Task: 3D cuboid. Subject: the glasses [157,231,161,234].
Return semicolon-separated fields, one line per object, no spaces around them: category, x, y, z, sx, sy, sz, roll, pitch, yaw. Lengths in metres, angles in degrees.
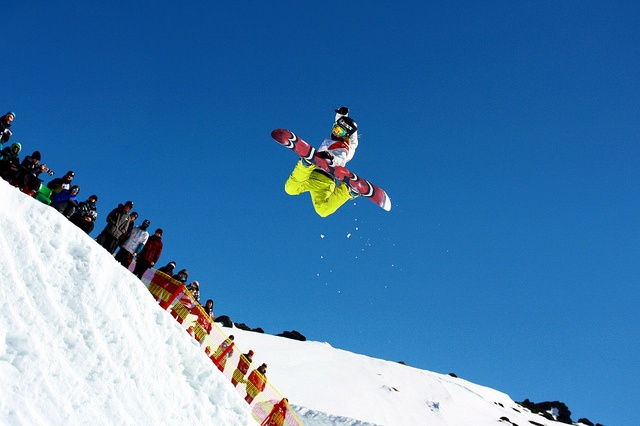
glasses;-4.192;0.505;15.649;0.060;0.063;0.017;11;12;-8

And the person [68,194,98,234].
person;-5.761;0.012;14.969;0.632;0.915;0.656;18;-10;3

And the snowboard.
snowboard;0.171;-0.931;14.871;2.748;0.289;0.572;41;-39;-15

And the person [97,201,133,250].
person;-5.100;0.331;15.113;0.374;1.225;0.698;12;-12;30

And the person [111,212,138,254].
person;-4.801;0.515;14.642;0.158;1.147;0.158;35;-21;-24
